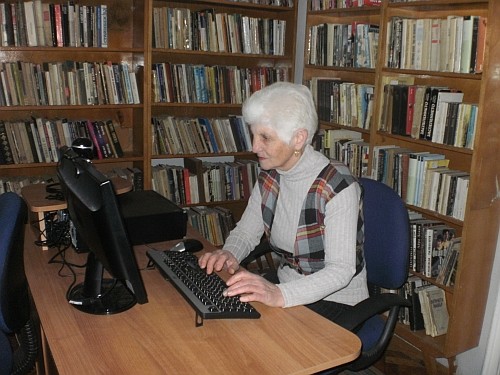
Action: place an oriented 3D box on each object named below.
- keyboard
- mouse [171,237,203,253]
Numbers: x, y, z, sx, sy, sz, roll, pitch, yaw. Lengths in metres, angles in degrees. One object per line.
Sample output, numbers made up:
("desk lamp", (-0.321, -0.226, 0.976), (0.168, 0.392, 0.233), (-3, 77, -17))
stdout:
("keyboard", (-0.186, 0.369, 1.431), (0.208, 0.098, 0.513), (-10, 21, -24))
("mouse", (-0.295, 0.270, 1.811), (0.133, 0.032, 0.063), (-1, 12, -19))
